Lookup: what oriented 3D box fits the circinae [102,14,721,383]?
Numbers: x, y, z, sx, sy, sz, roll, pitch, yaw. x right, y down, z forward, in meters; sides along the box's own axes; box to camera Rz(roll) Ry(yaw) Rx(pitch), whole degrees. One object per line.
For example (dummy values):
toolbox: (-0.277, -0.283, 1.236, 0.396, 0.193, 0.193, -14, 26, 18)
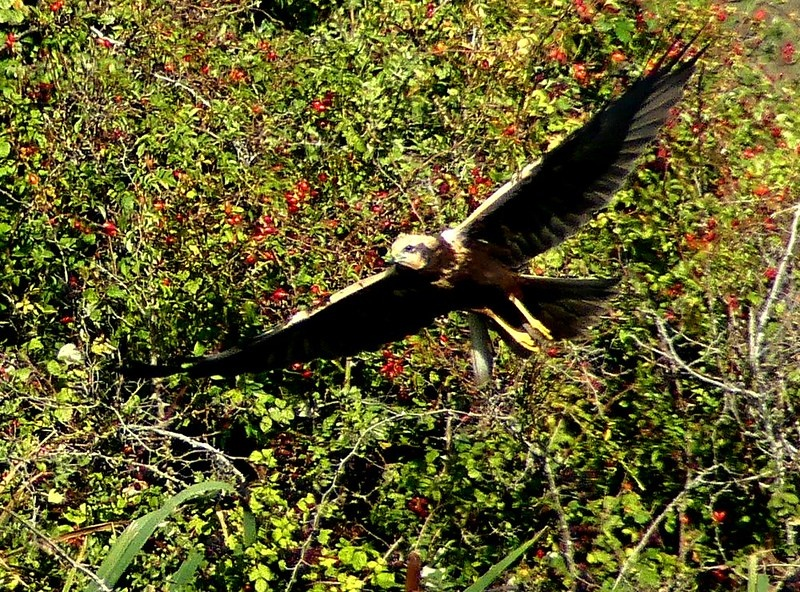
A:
circinae: (0.119, -0.451, 8.797, 0.702, 1.907, 0.751, 57, 12, 24)
